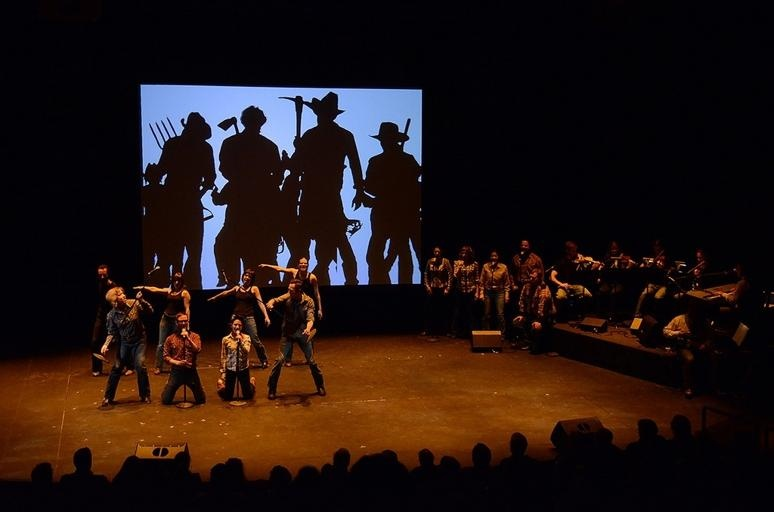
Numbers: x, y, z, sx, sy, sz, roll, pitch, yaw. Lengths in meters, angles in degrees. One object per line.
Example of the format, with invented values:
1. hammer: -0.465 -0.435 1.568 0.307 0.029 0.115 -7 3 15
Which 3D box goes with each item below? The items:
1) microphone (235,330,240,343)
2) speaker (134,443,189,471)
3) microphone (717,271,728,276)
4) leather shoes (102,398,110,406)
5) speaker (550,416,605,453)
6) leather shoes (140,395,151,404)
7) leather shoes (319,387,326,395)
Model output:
1. microphone: -2.789 1.511 11.419 0.112 0.205 0.069 -3 10 -17
2. speaker: -2.983 2.646 7.939 0.594 0.377 0.604 0 -23 -4
3. microphone: 8.409 0.433 15.350 0.141 0.150 0.480 0 2 12
4. leather shoes: -5.250 2.759 11.438 0.087 0.108 0.241 3 7 -2
5. speaker: 2.764 2.627 8.910 0.796 0.550 0.621 -2 -2 -14
6. leather shoes: -4.565 2.747 11.614 0.196 0.137 0.107 -2 2 -11
7. leather shoes: -1.267 2.668 12.023 0.132 0.247 0.134 1 6 -4
